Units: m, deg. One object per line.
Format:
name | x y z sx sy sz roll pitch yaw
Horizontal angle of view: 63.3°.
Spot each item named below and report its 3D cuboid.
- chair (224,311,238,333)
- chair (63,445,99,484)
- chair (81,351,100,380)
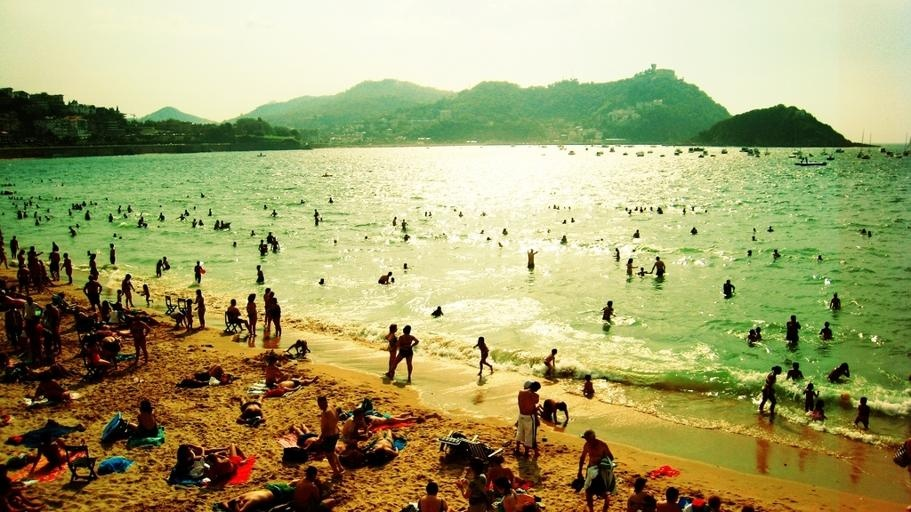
chair | -13.403 3.882 43.888 1.000 1.168 0.535 5 8 15
chair | -17.996 9.930 35.530 1.271 1.685 1.314 -1 9 -27
chair | -19.480 5.803 39.436 0.709 1.321 1.194 -4 10 -42
